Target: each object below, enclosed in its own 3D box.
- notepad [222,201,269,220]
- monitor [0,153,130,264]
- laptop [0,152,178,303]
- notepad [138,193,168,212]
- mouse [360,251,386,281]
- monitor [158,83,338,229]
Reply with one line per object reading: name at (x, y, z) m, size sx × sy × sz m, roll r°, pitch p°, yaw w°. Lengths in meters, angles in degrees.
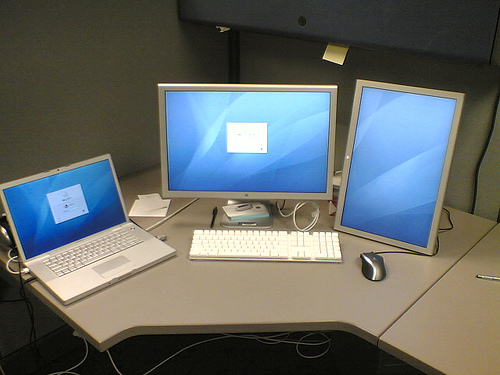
notepad at (-0.022, 0.090, 1.678) m, size 0.113 × 0.027 × 0.084 m, roll -3°, pitch 29°, yaw -7°
monitor at (-0.659, 0.085, 1.473) m, size 0.348 × 0.235 × 0.014 m, roll -23°, pitch 11°, yaw -31°
laptop at (-0.538, 0.192, 1.429) m, size 0.475 × 0.320 × 0.498 m, roll -23°, pitch 40°, yaw -36°
notepad at (-0.410, 0.063, 1.756) m, size 0.111 × 0.011 × 0.145 m, roll -11°, pitch 25°, yaw -19°
mouse at (0.407, 0.258, 1.391) m, size 0.075 × 0.033 × 0.128 m, roll -4°, pitch 30°, yaw 10°
monitor at (-0.012, -0.129, 1.581) m, size 0.562 × 0.446 × 0.181 m, roll 1°, pitch 24°, yaw 1°
